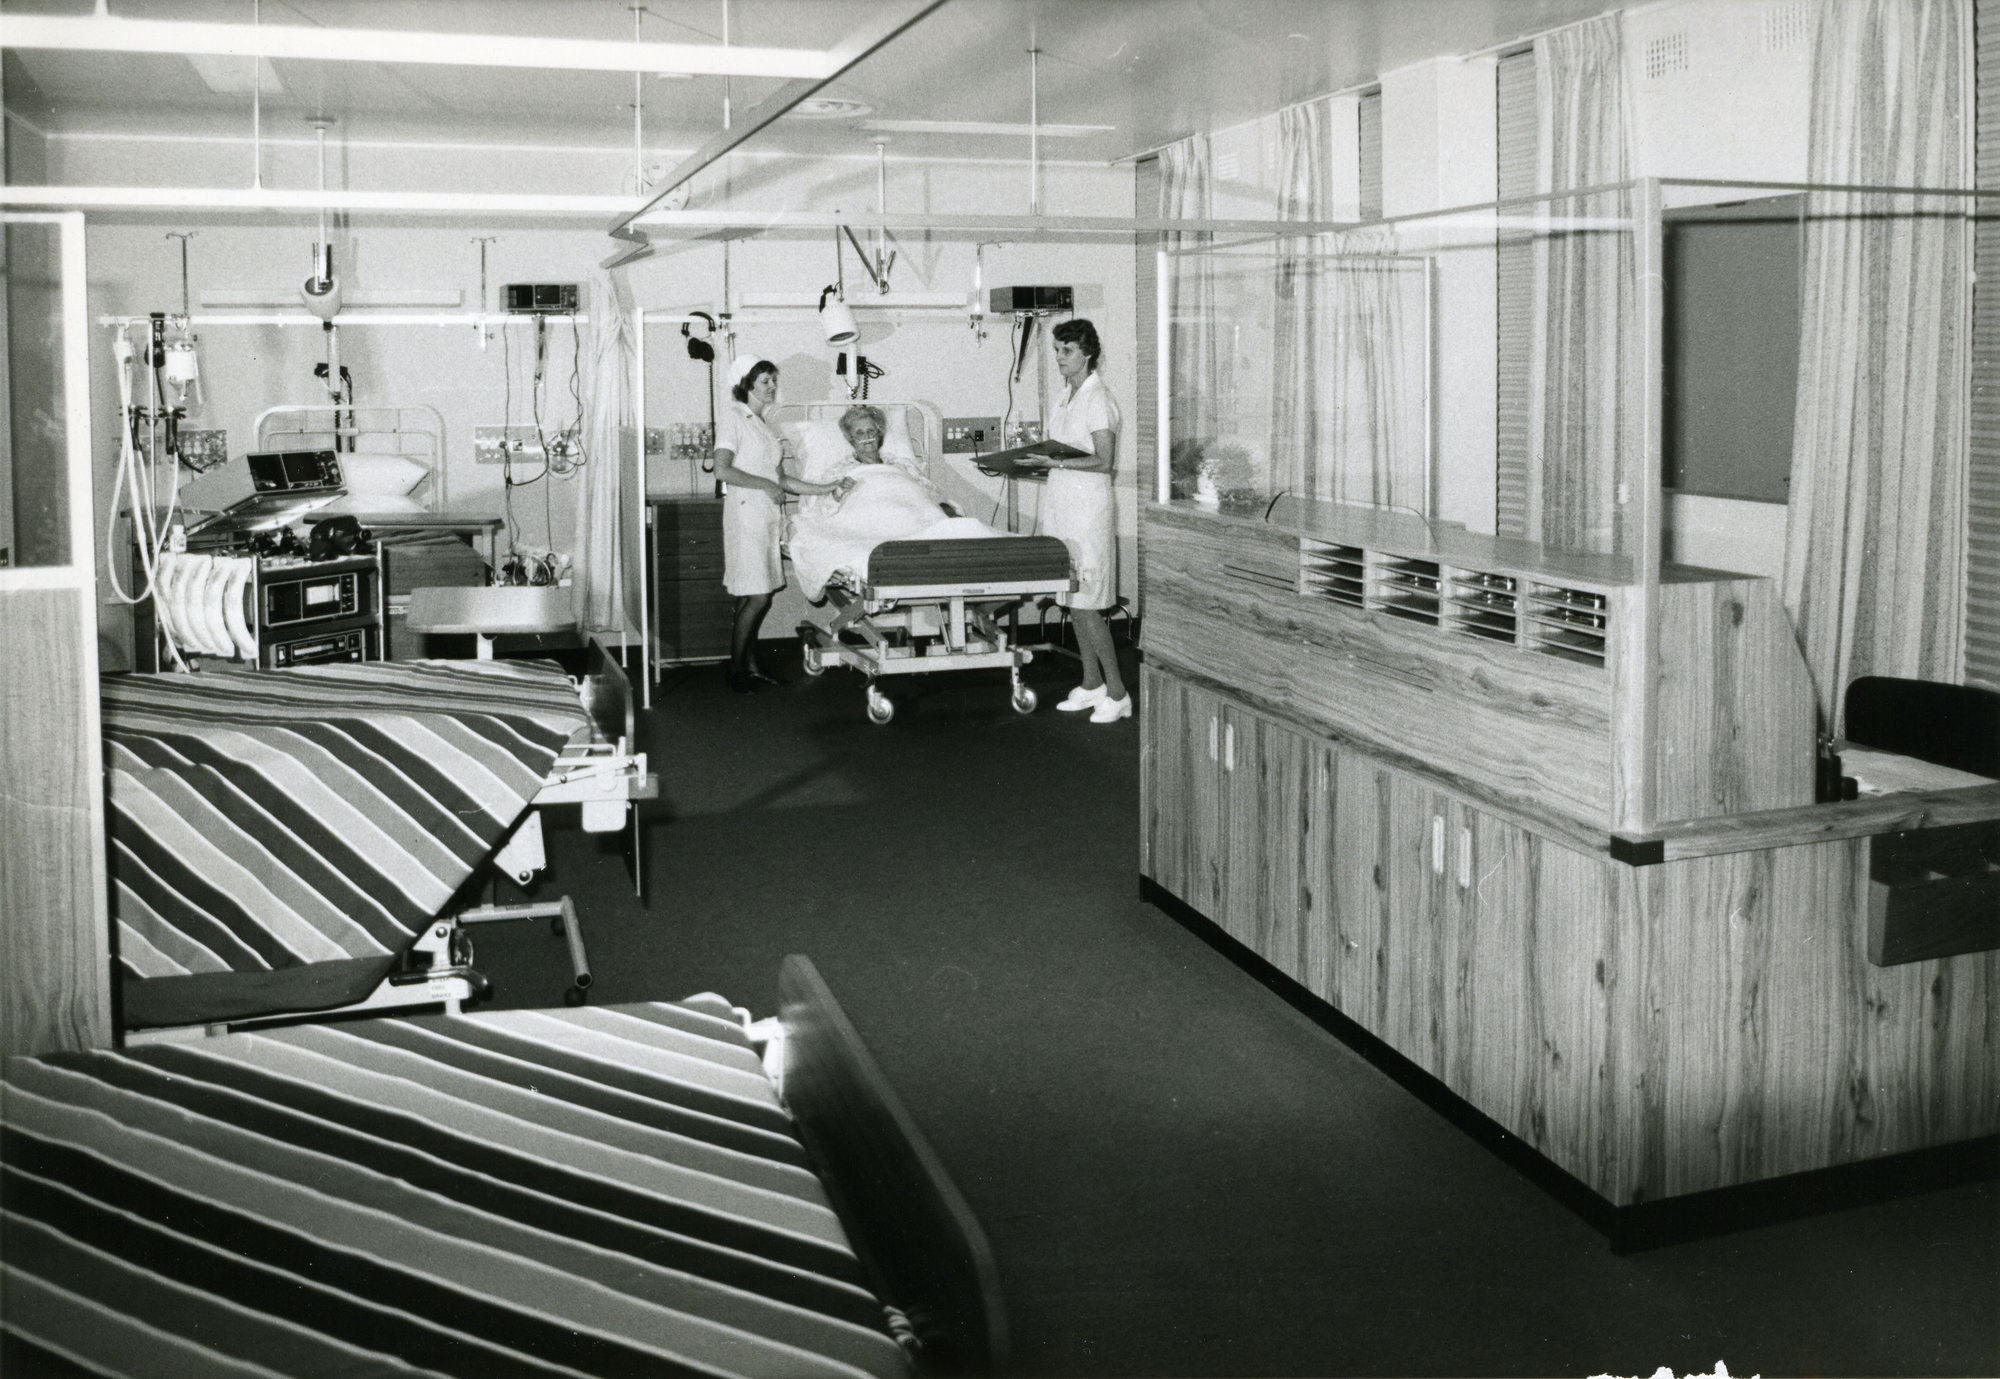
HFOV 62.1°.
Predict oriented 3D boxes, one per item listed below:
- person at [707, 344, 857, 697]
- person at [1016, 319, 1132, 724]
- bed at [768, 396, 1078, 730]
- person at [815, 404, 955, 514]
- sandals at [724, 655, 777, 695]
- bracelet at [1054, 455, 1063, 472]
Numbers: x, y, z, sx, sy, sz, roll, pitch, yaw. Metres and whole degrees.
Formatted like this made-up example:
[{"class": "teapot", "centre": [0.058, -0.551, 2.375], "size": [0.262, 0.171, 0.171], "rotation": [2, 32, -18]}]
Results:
[{"class": "person", "centre": [-1.378, -1.018, 10.246], "size": [0.718, 2.219, 0.809], "rotation": [-23, 29, -34]}, {"class": "person", "centre": [0.472, -0.943, 9.324], "size": [0.601, 2.201, 1.068], "rotation": [1, 14, 3]}, {"class": "bed", "centre": [-0.620, -0.774, 9.414], "size": [1.114, 1.287, 2.093], "rotation": [-5, 16, -22]}, {"class": "person", "centre": [-0.738, -1.482, 10.005], "size": [0.547, 0.205, 0.920], "rotation": [-6, 35, -18]}, {"class": "sandals", "centre": [-1.553, -0.101, 10.336], "size": [0.402, 0.264, 0.150], "rotation": [-3, 9, -6]}, {"class": "bracelet", "centre": [0.322, -1.255, 9.164], "size": [0.056, 0.049, 0.013], "rotation": [0, 31, 12]}]
